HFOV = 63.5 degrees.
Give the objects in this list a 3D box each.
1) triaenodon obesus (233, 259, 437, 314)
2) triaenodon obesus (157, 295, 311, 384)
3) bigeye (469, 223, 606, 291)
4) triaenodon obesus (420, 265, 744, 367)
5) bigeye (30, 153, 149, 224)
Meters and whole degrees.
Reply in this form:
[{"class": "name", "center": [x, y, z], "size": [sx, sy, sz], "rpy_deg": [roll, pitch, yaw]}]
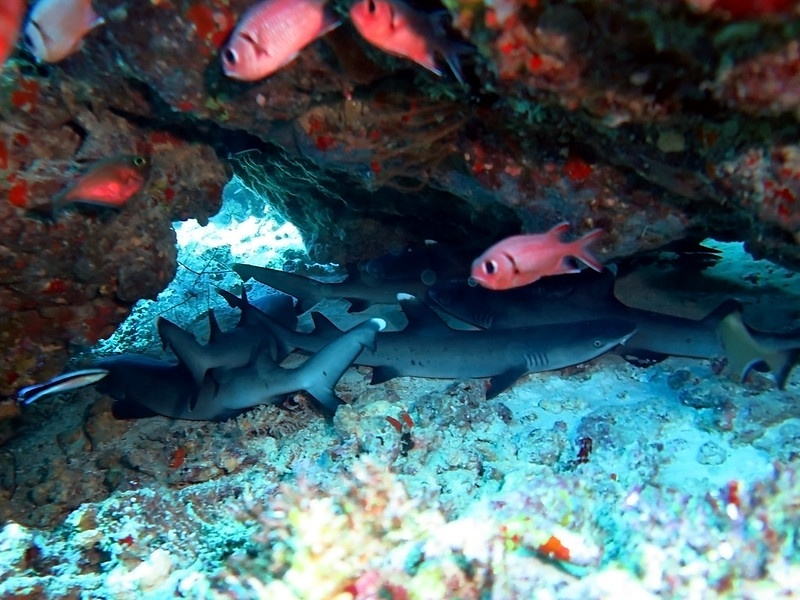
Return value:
[{"class": "triaenodon obesus", "center": [-0.685, -0.119, 7.208], "size": [2.845, 0.537, 0.670], "rpy_deg": [-2, 18, -15]}, {"class": "triaenodon obesus", "center": [-1.664, 0.317, 6.680], "size": [0.811, 0.602, 1.510], "rpy_deg": [3, 20, 18]}, {"class": "bigeye", "center": [0.980, -0.304, 4.658], "size": [1.109, 0.385, 0.199], "rpy_deg": [-11, 16, -20]}, {"class": "triaenodon obesus", "center": [1.776, 0.127, 6.820], "size": [3.513, 0.702, 0.860], "rpy_deg": [8, -1, 19]}, {"class": "bigeye", "center": [-2.403, -0.897, 5.075], "size": [0.287, 0.412, 0.950], "rpy_deg": [16, 46, 38]}]
